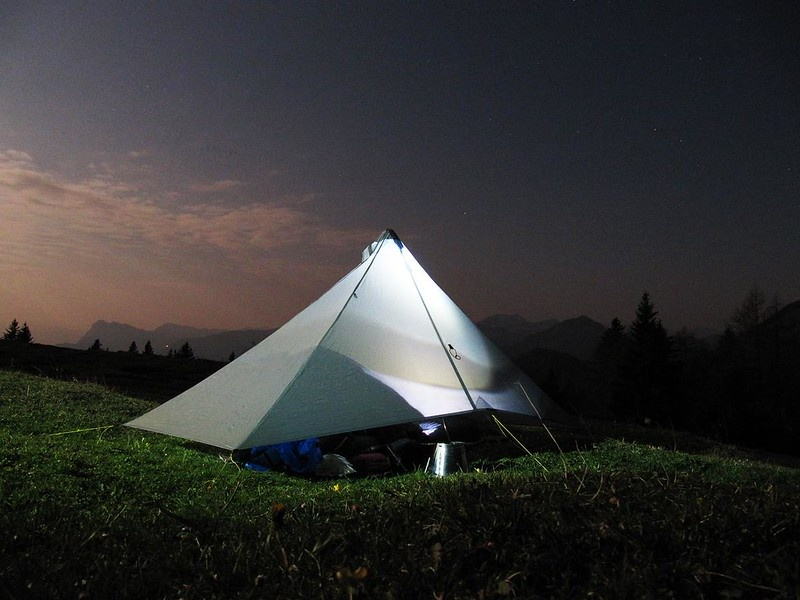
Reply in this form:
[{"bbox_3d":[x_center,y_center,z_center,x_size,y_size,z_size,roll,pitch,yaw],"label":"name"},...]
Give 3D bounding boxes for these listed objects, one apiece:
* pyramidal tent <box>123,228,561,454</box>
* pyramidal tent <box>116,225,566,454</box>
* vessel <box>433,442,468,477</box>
[{"bbox_3d":[-0.354,0.559,5.417,2.682,1.438,2.714,-14,-21,38],"label":"pyramidal tent"},{"bbox_3d":[-0.539,0.643,5.473,2.679,1.432,2.782,8,-19,-17],"label":"pyramidal tent"},{"bbox_3d":[0.458,1.486,5.478,0.285,0.211,0.300,1,-15,0],"label":"vessel"}]
